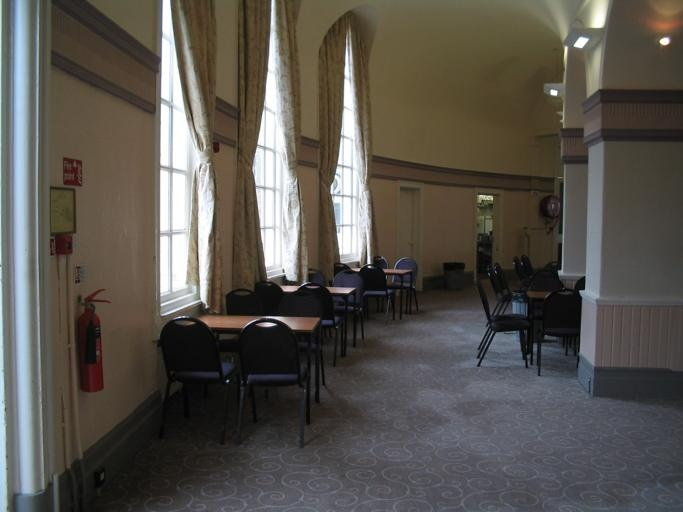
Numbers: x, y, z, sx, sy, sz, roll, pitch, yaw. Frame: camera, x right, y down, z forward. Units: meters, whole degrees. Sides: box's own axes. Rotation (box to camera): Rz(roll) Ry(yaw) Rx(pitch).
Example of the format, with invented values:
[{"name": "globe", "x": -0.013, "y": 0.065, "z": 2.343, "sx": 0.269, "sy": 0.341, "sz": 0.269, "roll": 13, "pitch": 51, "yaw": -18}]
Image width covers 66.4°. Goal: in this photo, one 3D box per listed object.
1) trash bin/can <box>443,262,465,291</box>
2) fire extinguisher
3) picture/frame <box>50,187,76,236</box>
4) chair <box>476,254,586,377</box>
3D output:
[{"name": "trash bin/can", "x": 2.698, "y": 0.477, "z": 12.486, "sx": 0.506, "sy": 0.622, "sz": 0.541, "roll": 1, "pitch": -3, "yaw": -40}, {"name": "fire extinguisher", "x": -1.696, "y": 0.582, "z": 3.530, "sx": 0.160, "sy": 0.659, "sz": 0.214, "roll": 0, "pitch": 6, "yaw": 1}, {"name": "picture/frame", "x": -1.786, "y": -0.282, "z": 3.332, "sx": 0.338, "sy": 0.305, "sz": 0.012, "roll": 3, "pitch": 4, "yaw": 38}, {"name": "chair", "x": 2.282, "y": 0.678, "z": 6.362, "sx": 0.972, "sy": 1.339, "sz": 1.034, "roll": 3, "pitch": 1, "yaw": 16}]
